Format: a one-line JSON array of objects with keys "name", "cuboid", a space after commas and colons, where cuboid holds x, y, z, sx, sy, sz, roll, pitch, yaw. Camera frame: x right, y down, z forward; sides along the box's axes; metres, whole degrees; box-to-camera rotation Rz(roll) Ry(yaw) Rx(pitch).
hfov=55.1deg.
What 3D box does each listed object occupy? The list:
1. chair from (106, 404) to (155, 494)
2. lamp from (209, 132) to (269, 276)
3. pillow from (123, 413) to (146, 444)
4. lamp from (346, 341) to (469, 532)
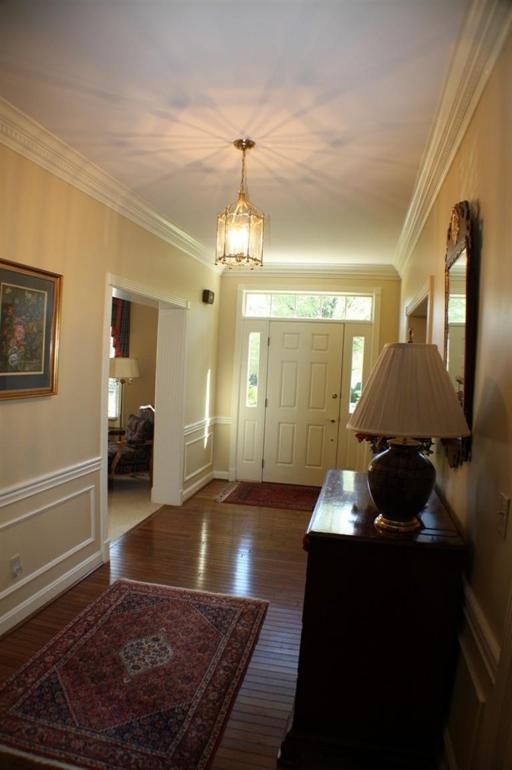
[{"name": "chair", "cuboid": [-1.627, 0.738, 6.036, 0.579, 0.997, 0.691, 7, -1, -42]}, {"name": "lamp", "cuboid": [-0.075, -0.981, 2.684, 0.266, 0.701, 0.276, 3, -3, -16]}, {"name": "pillow", "cuboid": [-1.540, 0.563, 6.177, 0.118, 0.363, 0.335, 12, -5, -12]}, {"name": "lamp", "cuboid": [0.530, 0.189, 1.711, 0.386, 0.644, 0.460, 2, 1, 23]}]
